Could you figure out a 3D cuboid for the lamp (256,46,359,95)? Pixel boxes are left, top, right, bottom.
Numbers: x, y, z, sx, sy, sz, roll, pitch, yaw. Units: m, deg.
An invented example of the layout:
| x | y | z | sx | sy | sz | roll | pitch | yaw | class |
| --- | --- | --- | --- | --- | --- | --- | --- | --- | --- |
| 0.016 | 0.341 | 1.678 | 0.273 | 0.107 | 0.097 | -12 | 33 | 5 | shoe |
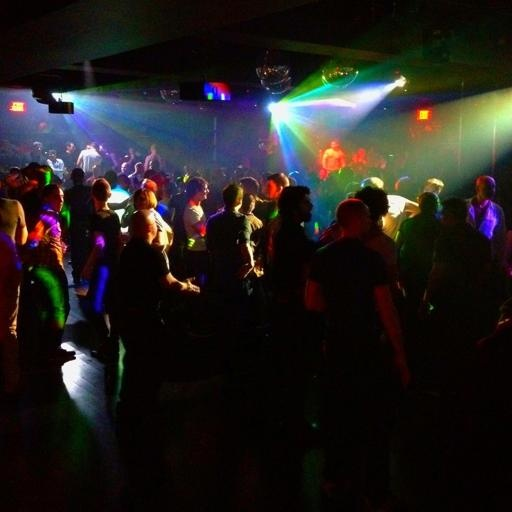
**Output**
| x | y | z | sx | sy | sz | roll | pitch | yaw | class |
| --- | --- | --- | --- | --- | --- | --- | --- | --- | --- |
| 0.760 | -2.732 | 6.947 | 1.334 | 0.640 | 0.779 | -1 | 17 | -15 | lamp |
